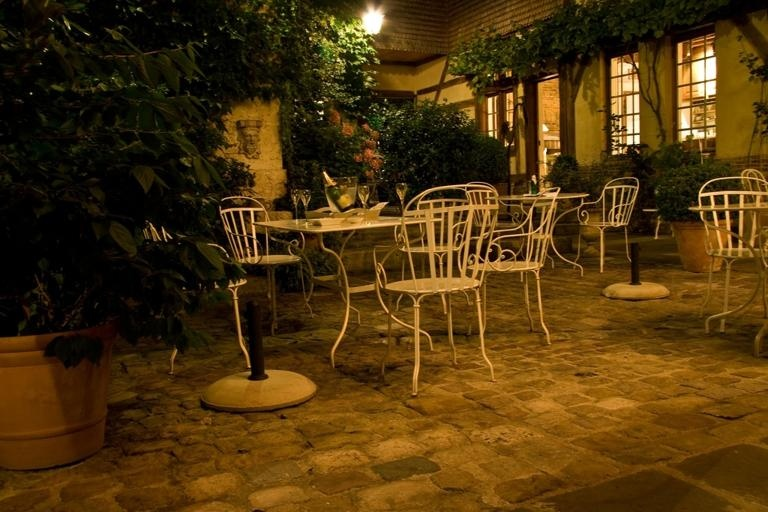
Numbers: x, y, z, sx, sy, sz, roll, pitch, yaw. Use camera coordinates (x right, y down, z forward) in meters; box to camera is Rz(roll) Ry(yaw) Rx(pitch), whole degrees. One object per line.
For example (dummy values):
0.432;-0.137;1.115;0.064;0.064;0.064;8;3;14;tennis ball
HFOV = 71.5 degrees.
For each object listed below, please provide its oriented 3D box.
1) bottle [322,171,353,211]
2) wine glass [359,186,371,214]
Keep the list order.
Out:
-0.359;-0.493;4.138;0.386;0.284;0.312;-2;0;-7;bottle
-0.147;-0.447;4.035;0.074;0.174;0.128;-7;13;-7;wine glass
